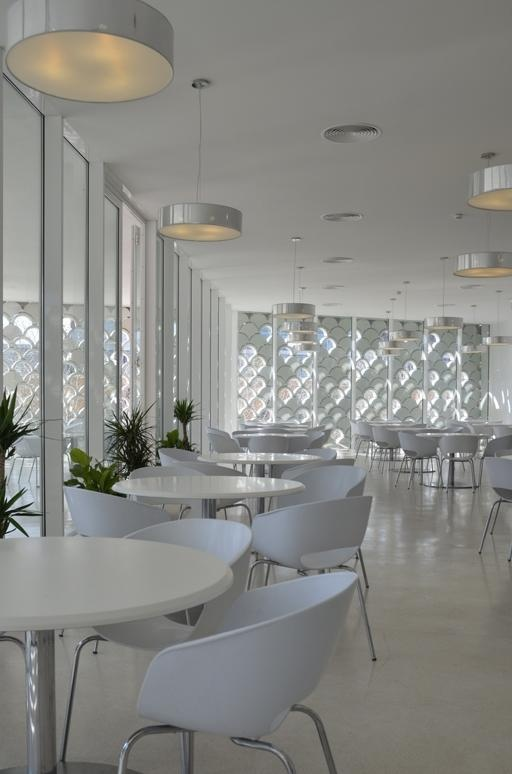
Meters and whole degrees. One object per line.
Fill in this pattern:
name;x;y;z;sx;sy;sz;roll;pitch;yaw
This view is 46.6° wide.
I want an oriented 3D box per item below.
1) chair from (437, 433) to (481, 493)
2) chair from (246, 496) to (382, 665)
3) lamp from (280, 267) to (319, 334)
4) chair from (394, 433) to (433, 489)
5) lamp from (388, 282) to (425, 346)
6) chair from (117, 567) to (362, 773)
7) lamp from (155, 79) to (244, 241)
chair;2.532;0.851;7.357;0.435;0.666;0.443;-3;12;9
chair;0.218;0.747;2.485;0.443;0.707;0.447;-3;6;-24
lamp;0.636;-1.313;9.230;0.533;0.960;0.555;1;0;2
chair;2.139;0.913;7.716;0.353;0.567;0.356;2;1;9
lamp;3.926;-2.108;15.577;0.748;1.444;0.766;-3;-5;24
chair;-0.007;0.527;1.065;0.365;0.388;0.412;-1;-1;15
lamp;-0.369;-1.539;3.969;0.531;0.972;0.525;-1;4;-30
